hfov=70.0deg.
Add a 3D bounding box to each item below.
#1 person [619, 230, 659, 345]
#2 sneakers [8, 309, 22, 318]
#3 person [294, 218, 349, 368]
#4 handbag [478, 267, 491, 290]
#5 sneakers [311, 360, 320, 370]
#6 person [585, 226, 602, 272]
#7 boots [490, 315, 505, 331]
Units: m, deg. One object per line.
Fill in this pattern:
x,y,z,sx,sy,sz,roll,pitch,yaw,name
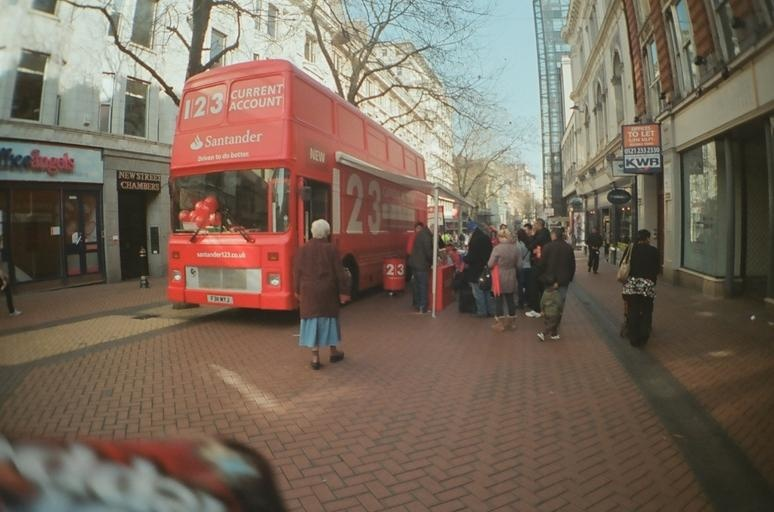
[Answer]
4.693,0.586,10.248,0.593,2.108,0.572,9,15,39,person
-8.669,1.302,12.883,0.202,0.133,0.603,-7,15,-30,sneakers
-1.082,0.629,9.215,0.878,2.342,0.612,-3,12,-17,person
2.189,0.492,12.294,0.181,0.433,0.399,5,-21,-4,handbag
-1.167,1.781,9.172,0.176,0.137,0.173,-1,13,-7,sneakers
8.193,-0.157,21.736,0.506,1.690,1.305,4,13,20,person
2.380,1.406,11.720,0.286,0.314,0.383,3,13,12,boots
